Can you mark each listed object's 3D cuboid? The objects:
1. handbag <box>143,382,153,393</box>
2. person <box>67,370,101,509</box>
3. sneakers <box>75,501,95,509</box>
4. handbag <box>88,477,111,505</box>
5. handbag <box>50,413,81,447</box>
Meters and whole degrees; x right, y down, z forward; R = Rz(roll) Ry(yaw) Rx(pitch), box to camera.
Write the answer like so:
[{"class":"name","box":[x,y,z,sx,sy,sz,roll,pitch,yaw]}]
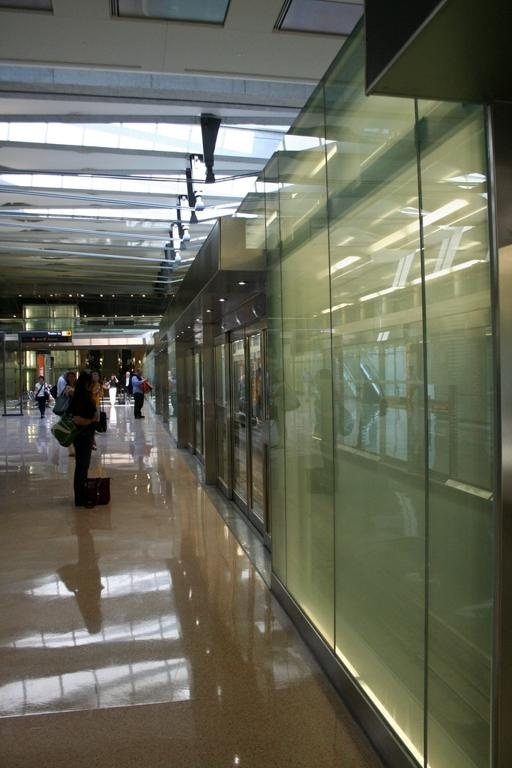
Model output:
[{"class":"handbag","box":[-4.812,0.138,25.599,0.281,0.612,0.540,-6,4,4]},{"class":"person","box":[-2.216,0.701,7.395,0.362,1.744,0.654,0,-1,-16]},{"class":"sneakers","box":[-2.211,1.541,7.463,0.279,0.103,0.192,3,-6,38]},{"class":"handbag","box":[-2.061,1.409,7.617,0.274,0.277,0.353,-3,1,-7]},{"class":"handbag","box":[-2.432,0.579,7.338,0.195,0.398,0.456,0,-1,-38]}]
